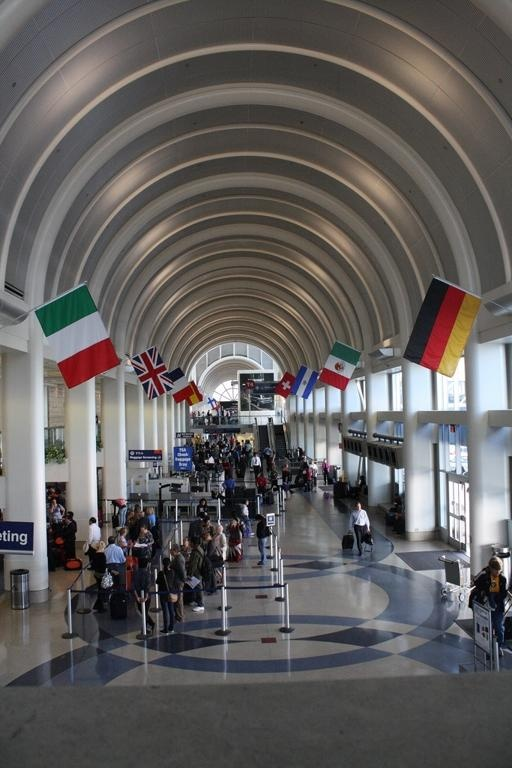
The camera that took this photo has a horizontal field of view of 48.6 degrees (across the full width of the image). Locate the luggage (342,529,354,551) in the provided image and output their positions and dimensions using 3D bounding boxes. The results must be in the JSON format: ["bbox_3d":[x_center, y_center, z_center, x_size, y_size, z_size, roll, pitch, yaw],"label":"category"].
[{"bbox_3d":[2.676,4.676,16.791,0.314,0.537,0.683,-2,-6,8],"label":"luggage"}]

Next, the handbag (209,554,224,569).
[{"bbox_3d":[-0.901,3.967,12.740,0.269,0.295,0.500,-2,-10,-11],"label":"handbag"}]

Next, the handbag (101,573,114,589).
[{"bbox_3d":[-2.924,3.874,11.127,0.212,0.328,0.082,-2,2,-2],"label":"handbag"}]

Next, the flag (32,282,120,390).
[{"bbox_3d":[-3.467,-0.941,10.957,1.388,2.024,0.401,-1,-6,0],"label":"flag"}]

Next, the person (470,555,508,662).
[{"bbox_3d":[3.412,3.276,8.305,0.496,1.543,1.212,-3,-6,21],"label":"person"}]

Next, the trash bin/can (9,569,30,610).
[{"bbox_3d":[-5.101,4.442,12.221,0.376,0.820,0.359,2,-7,-29],"label":"trash bin/can"}]

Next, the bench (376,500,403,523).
[{"bbox_3d":[5.081,5.008,21.487,0.803,0.546,1.177,2,-4,2],"label":"bench"}]

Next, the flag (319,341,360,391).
[{"bbox_3d":[3.141,-0.698,21.525,1.332,1.796,0.905,-2,-6,10],"label":"flag"}]

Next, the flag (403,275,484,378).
[{"bbox_3d":[3.641,-1.166,11.238,1.337,1.858,0.674,-4,-6,23],"label":"flag"}]

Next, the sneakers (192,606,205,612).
[{"bbox_3d":[-1.175,4.556,11.434,0.242,0.111,0.093,-2,-2,13],"label":"sneakers"}]

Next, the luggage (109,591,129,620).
[{"bbox_3d":[-2.672,4.298,10.962,0.391,0.530,0.342,-1,-6,0],"label":"luggage"}]

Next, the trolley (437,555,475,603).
[{"bbox_3d":[4.344,4.251,12.432,0.680,0.843,0.508,-4,-4,11],"label":"trolley"}]
